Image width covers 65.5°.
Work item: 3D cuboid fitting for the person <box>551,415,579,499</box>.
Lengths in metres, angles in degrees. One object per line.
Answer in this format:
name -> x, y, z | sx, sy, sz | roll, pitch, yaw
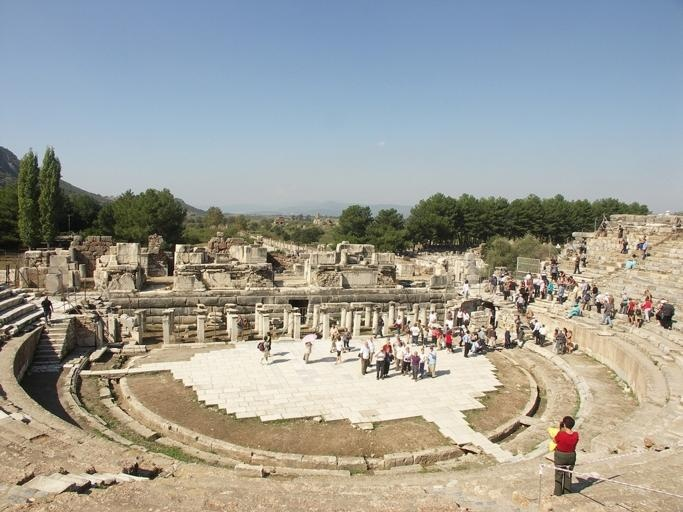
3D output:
person -> 5.228, 4.622, 12.378 | 0.602, 1.775, 0.662 | 12, 15, 25
